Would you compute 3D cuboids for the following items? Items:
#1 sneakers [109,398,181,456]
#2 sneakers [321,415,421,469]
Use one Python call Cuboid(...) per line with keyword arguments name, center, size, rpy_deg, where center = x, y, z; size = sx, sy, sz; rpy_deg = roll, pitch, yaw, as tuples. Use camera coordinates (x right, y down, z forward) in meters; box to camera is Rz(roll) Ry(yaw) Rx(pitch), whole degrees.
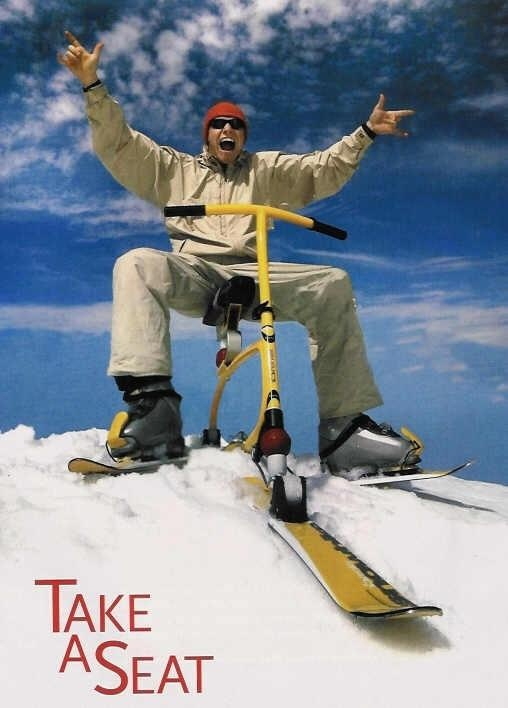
Cuboid(name="sneakers", center=(-0.344, 0.248, 2.279), size=(0.284, 0.210, 0.107), rpy_deg=(-8, 15, -42))
Cuboid(name="sneakers", center=(0.431, 0.327, 2.545), size=(0.430, 0.204, 0.153), rpy_deg=(-10, -12, 42))
